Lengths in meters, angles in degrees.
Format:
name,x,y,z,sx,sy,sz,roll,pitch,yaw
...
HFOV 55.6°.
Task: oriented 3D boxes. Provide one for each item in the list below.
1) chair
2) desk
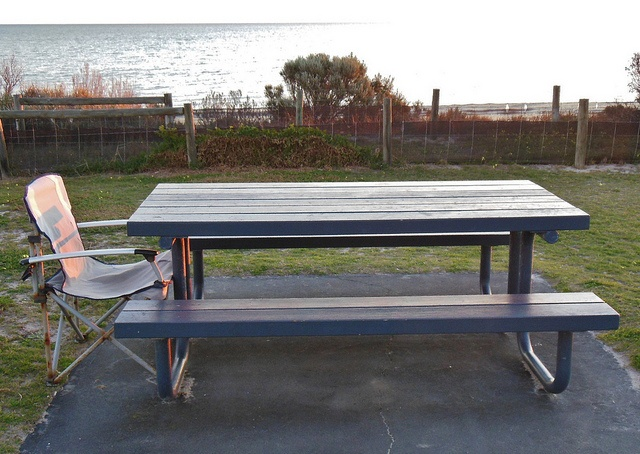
name,x,y,z,sx,sy,sz,roll,pitch,yaw
chair,-1.819,0.405,5.309,1.453,1.676,1.443,-8,16,-31
desk,0.261,-0.148,5.099,3.478,0.356,1.054,-3,14,-1
